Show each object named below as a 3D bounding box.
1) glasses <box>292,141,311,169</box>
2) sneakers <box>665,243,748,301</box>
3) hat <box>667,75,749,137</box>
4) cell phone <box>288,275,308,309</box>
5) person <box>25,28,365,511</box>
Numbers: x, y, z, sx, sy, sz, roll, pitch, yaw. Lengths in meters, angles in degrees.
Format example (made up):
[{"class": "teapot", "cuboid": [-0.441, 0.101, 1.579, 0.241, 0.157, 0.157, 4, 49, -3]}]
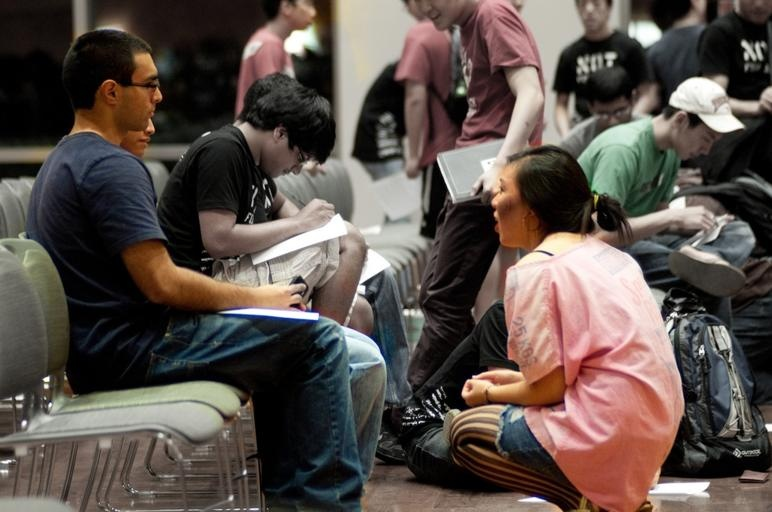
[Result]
[{"class": "glasses", "cuboid": [-0.362, -0.431, 3.525, 0.032, 0.108, 0.105, -7, -8, 17]}, {"class": "sneakers", "cuboid": [1.625, 0.094, 4.261, 0.388, 0.219, 0.131, 29, 25, 11]}, {"class": "hat", "cuboid": [1.631, -0.787, 4.245, 0.260, 0.209, 0.406, -16, 33, -32]}, {"class": "cell phone", "cuboid": [-0.358, 0.141, 3.497, 0.029, 0.116, 0.119, 13, 36, -47]}, {"class": "person", "cuboid": [-0.745, 0.035, 3.161, 1.239, 1.802, 0.323, 0, 1, -3]}]
